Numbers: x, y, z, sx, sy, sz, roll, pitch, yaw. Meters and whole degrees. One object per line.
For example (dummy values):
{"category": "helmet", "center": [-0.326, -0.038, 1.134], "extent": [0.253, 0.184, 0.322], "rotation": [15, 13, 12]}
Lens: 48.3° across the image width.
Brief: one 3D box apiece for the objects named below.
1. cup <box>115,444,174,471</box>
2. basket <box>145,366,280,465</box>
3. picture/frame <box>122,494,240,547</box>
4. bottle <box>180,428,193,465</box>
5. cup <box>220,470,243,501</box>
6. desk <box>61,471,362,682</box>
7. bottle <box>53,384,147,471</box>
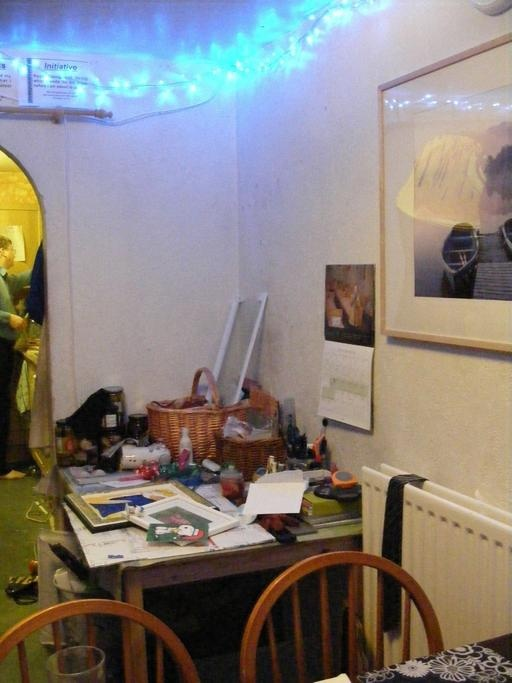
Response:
{"category": "cup", "center": [-0.426, 0.449, 2.180], "extent": [0.183, 0.093, 0.116], "rotation": [4, 6, 17]}
{"category": "basket", "center": [-0.180, 0.310, 2.269], "extent": [0.453, 0.372, 0.358], "rotation": [4, -8, -23]}
{"category": "picture/frame", "center": [-0.198, 0.473, 1.587], "extent": [0.299, 0.036, 0.277], "rotation": [-1, 5, 21]}
{"category": "bottle", "center": [-0.267, 0.404, 2.165], "extent": [0.052, 0.141, 0.142], "rotation": [1, 6, -6]}
{"category": "cup", "center": [-0.079, 0.454, 1.809], "extent": [0.076, 0.082, 0.080], "rotation": [1, 1, 0]}
{"category": "desk", "center": [-0.132, 0.537, 1.491], "extent": [0.597, 0.623, 0.461], "rotation": [-4, 3, -23]}
{"category": "bottle", "center": [-0.628, 0.343, 2.342], "extent": [0.343, 0.366, 0.254], "rotation": [2, -6, -11]}
